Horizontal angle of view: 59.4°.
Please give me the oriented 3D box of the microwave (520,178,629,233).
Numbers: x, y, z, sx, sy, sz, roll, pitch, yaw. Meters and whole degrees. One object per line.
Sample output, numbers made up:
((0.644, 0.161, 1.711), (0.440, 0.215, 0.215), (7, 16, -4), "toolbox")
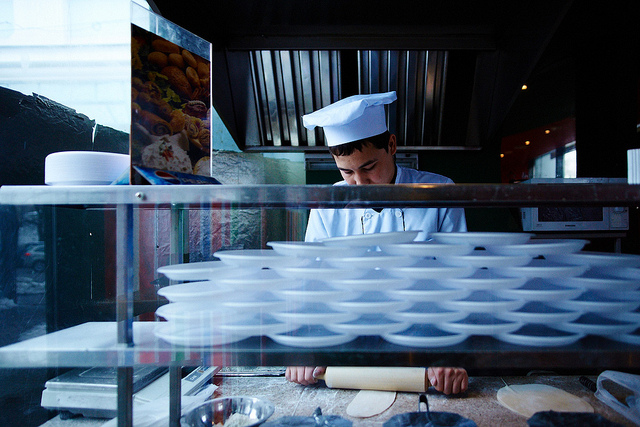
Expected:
((1.962, 0.035, 4.406), (0.738, 0.376, 0.509), (0, -15, 7), "microwave")

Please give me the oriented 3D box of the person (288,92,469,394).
((0.316, 0.101, 2.785), (0.808, 1.404, 1.411), (0, 4, 14), "person")
